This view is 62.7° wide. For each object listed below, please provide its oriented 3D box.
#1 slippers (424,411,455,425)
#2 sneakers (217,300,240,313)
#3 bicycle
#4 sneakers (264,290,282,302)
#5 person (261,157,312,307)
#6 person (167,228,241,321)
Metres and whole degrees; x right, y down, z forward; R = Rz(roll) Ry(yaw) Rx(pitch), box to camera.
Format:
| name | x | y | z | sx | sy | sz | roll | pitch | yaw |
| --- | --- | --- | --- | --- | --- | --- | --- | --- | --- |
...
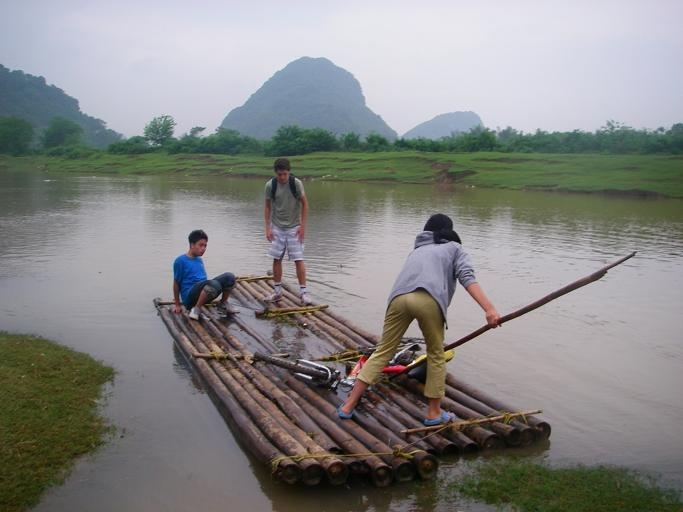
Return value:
| name | x | y | z | sx | sy | sz | roll | pitch | yaw |
| --- | --- | --- | --- | --- | --- | --- | --- | --- | --- |
| slippers | 1.152 | 1.916 | 6.621 | 0.370 | 0.129 | 0.144 | -12 | 7 | -14 |
| sneakers | -2.036 | 0.906 | 10.115 | 0.455 | 0.197 | 0.167 | 18 | 9 | -17 |
| bicycle | 0.103 | 1.464 | 7.656 | 2.323 | 0.992 | 1.256 | 0 | 13 | -9 |
| sneakers | -1.345 | 0.753 | 10.679 | 0.394 | 0.231 | 0.136 | -6 | 19 | -24 |
| person | -1.038 | -0.471 | 10.428 | 0.834 | 2.685 | 0.626 | 2 | 14 | 1 |
| person | -2.420 | 0.263 | 9.795 | 0.817 | 1.534 | 0.898 | 13 | 18 | 39 |
